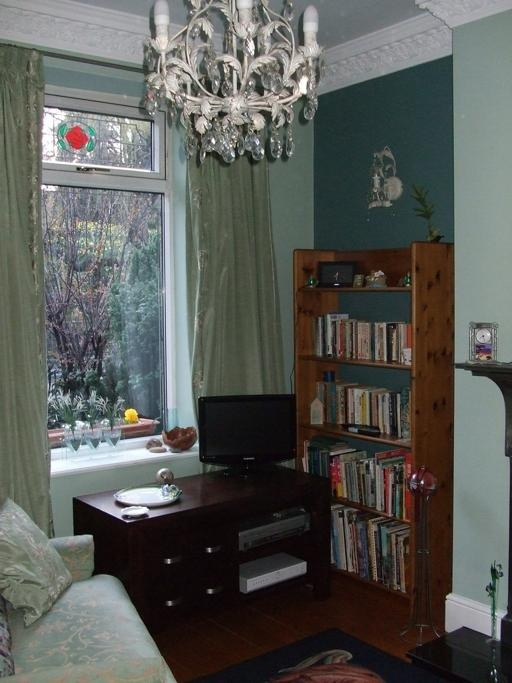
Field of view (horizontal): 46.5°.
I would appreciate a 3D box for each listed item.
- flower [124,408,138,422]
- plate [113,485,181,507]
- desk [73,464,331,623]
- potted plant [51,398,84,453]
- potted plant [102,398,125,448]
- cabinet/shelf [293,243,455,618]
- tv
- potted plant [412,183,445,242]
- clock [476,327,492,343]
[{"bbox_3d":[-0.705,0.427,3.391,0.101,0.088,0.020,1,-3,-45],"label":"flower"},{"bbox_3d":[-0.511,0.716,2.771,0.284,0.057,0.307,1,-2,-35],"label":"plate"},{"bbox_3d":[-0.223,1.050,3.021,1.153,0.643,0.504,-3,5,-40],"label":"desk"},{"bbox_3d":[-0.996,0.431,3.133,0.173,0.287,0.073,0,-2,-24],"label":"potted plant"},{"bbox_3d":[-0.784,0.454,3.293,0.068,0.252,0.147,-2,-2,32],"label":"potted plant"},{"bbox_3d":[0.662,0.407,3.270,0.479,1.967,1.121,0,-2,-32],"label":"cabinet/shelf"},{"bbox_3d":[-0.051,0.514,3.234,0.428,0.320,0.056,-1,-2,-20],"label":"tv"},{"bbox_3d":[0.883,-0.646,3.058,0.151,0.346,0.324,-1,-2,15],"label":"potted plant"},{"bbox_3d":[0.926,-0.017,2.440,0.052,0.053,0.011,-20,-11,37],"label":"clock"}]
